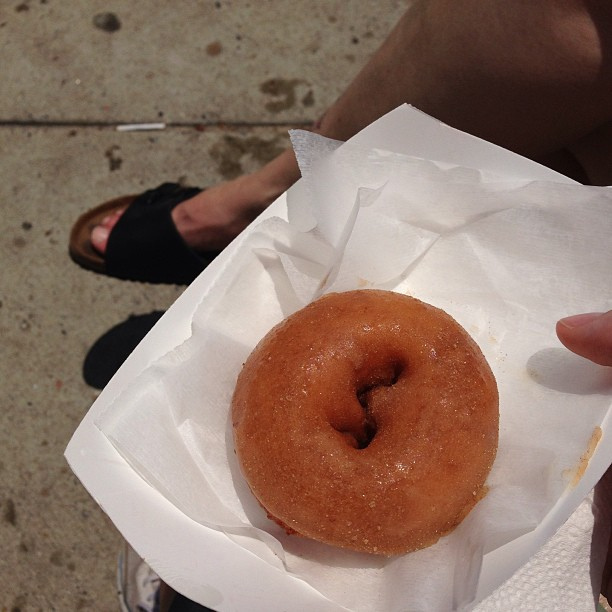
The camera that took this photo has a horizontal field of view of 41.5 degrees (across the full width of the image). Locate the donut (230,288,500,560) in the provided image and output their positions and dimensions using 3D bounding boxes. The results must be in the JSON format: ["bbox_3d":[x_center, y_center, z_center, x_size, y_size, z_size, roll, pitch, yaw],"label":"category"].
[{"bbox_3d":[0.087,0.163,1.171,0.387,0.149,0.378,-5,66,-2],"label":"donut"}]
